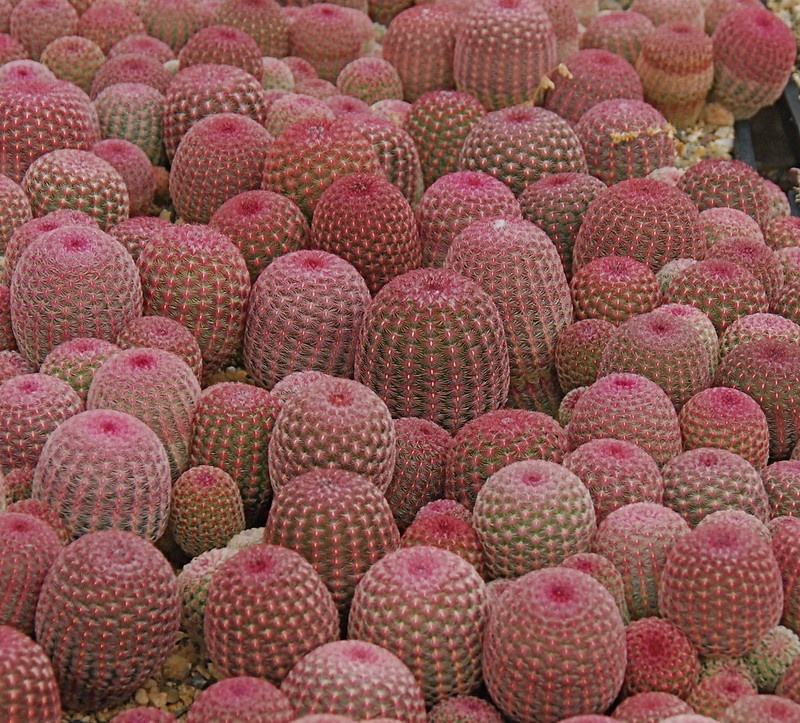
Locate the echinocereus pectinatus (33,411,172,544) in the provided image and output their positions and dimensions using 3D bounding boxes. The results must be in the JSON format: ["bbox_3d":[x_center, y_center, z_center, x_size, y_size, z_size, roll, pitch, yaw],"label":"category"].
[{"bbox_3d":[-0.991,0.353,3.575,0.418,0.470,0.448,14,16,6],"label":"echinocereus pectinatus"}]

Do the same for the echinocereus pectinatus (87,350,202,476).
[{"bbox_3d":[-0.985,0.115,3.879,0.409,0.470,0.402,-6,29,-17],"label":"echinocereus pectinatus"}]

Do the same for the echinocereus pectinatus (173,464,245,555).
[{"bbox_3d":[-0.660,0.525,3.755,0.266,0.343,0.296,0,30,-2],"label":"echinocereus pectinatus"}]

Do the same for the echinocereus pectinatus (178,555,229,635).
[{"bbox_3d":[-0.621,0.797,3.439,0.207,0.260,0.250,1,-3,5],"label":"echinocereus pectinatus"}]

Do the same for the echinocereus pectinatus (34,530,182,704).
[{"bbox_3d":[-0.927,0.809,3.146,0.430,0.474,0.344,-14,49,-27],"label":"echinocereus pectinatus"}]
